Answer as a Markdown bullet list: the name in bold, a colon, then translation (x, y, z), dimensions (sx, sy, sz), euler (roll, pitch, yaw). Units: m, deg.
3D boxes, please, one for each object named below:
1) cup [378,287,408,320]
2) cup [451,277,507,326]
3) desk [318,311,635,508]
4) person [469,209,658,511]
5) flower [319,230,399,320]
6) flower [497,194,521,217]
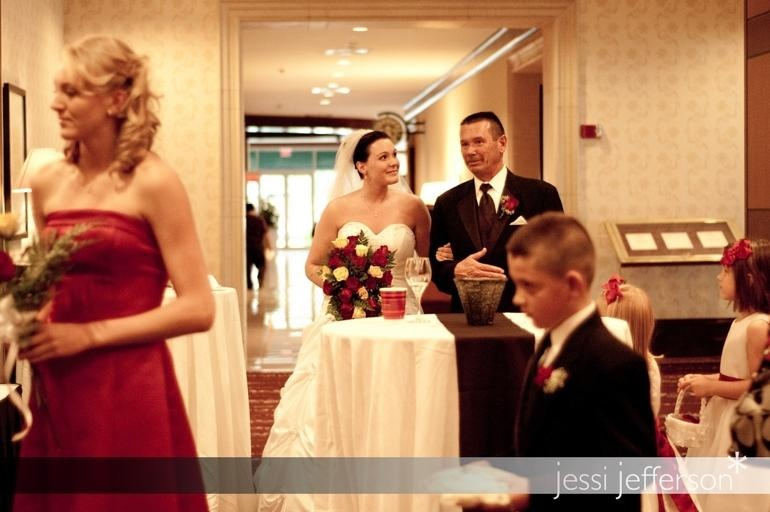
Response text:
- **cup**: translation (0.024, 0.249, 3.456), dimensions (0.150, 0.135, 0.139), euler (-1, 1, 0)
- **cup**: translation (0.440, 0.214, 3.144), dimensions (0.221, 0.181, 0.221), euler (0, -3, 0)
- **desk**: translation (0.099, 0.636, 3.488), dimensions (1.104, 0.861, 1.138), euler (0, -2, -6)
- **person**: translation (0.579, 0.251, 2.001), dimensions (0.429, 0.761, 0.244), euler (0, 2, 25)
- **flower**: translation (-0.166, 0.102, 4.225), dimensions (0.472, 0.503, 0.521), euler (-19, 15, 0)
- **flower**: translation (0.730, -0.303, 3.941), dimensions (0.115, 0.117, 0.042), euler (5, 1, 4)
